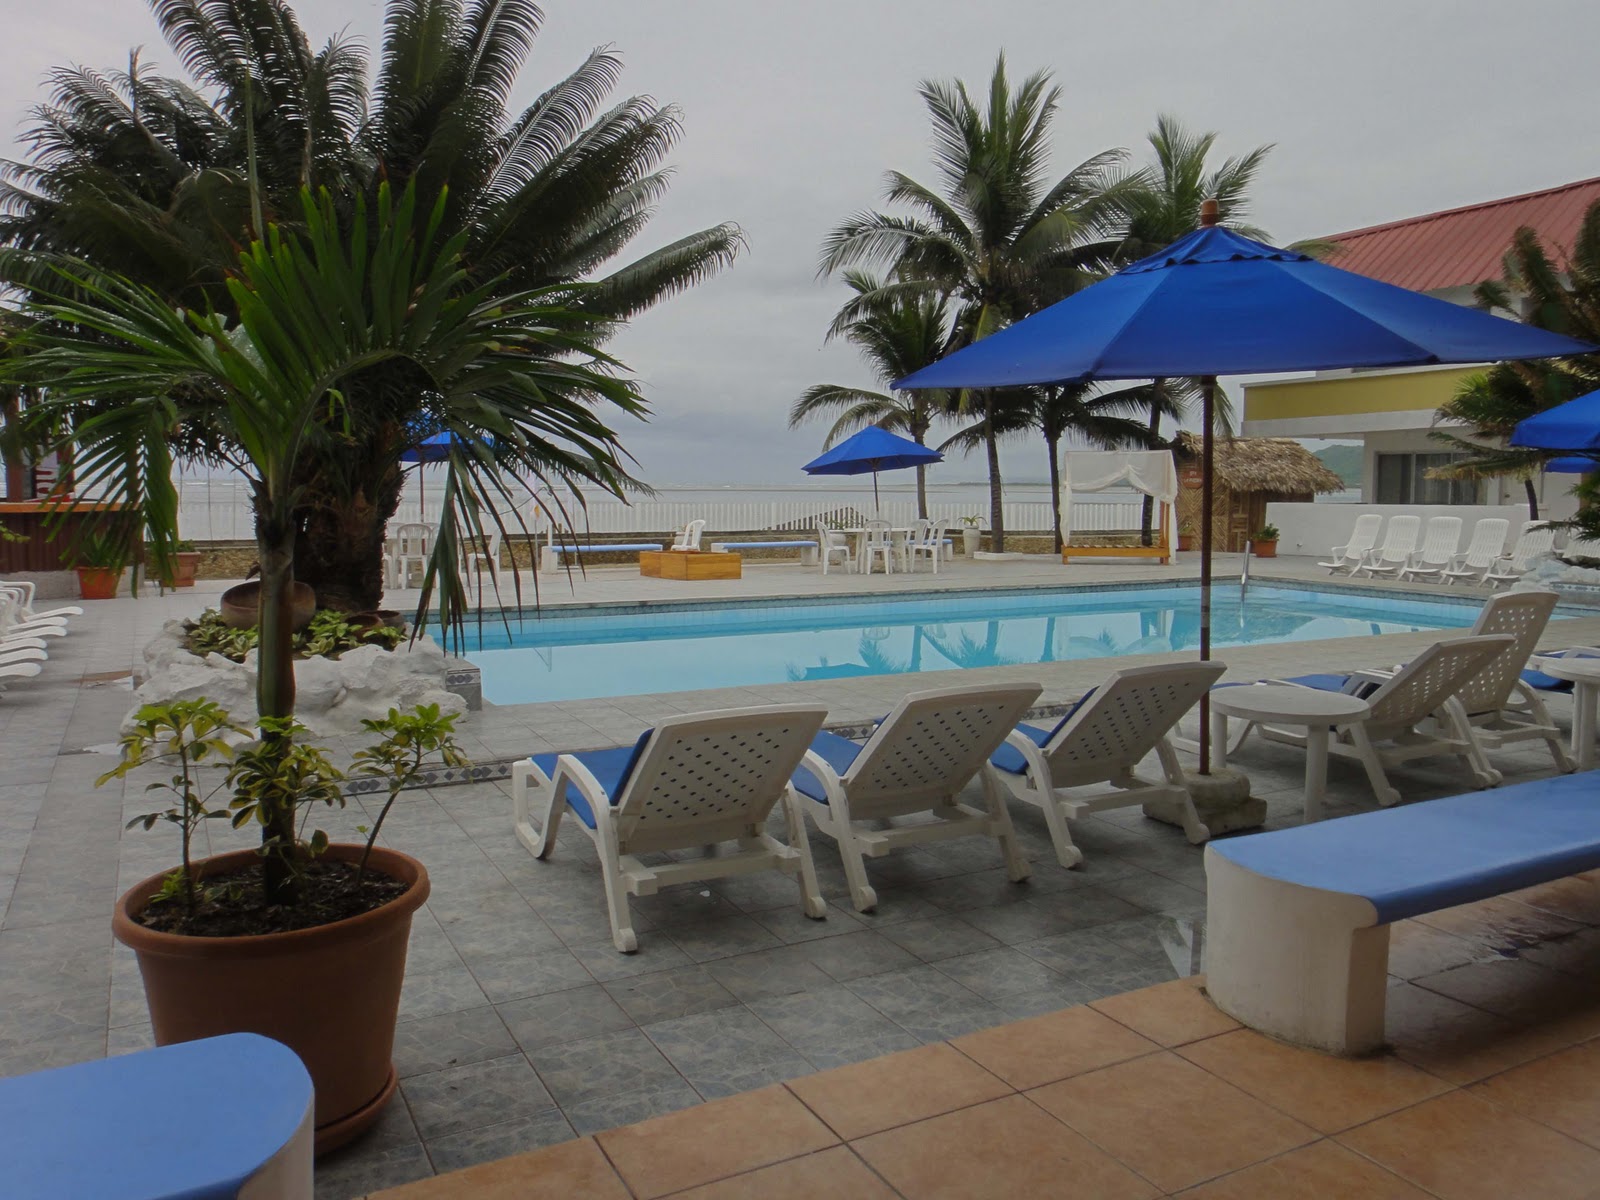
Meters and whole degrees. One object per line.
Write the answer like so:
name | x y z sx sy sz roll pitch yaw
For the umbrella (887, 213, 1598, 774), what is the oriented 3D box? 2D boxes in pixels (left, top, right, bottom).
umbrella | 2.229 -0.680 5.506 3.025 1.889 2.519 -4 4 -7

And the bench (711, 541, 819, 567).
bench | -0.889 -1.357 26.396 2.439 0.517 1.617 0 6 15
